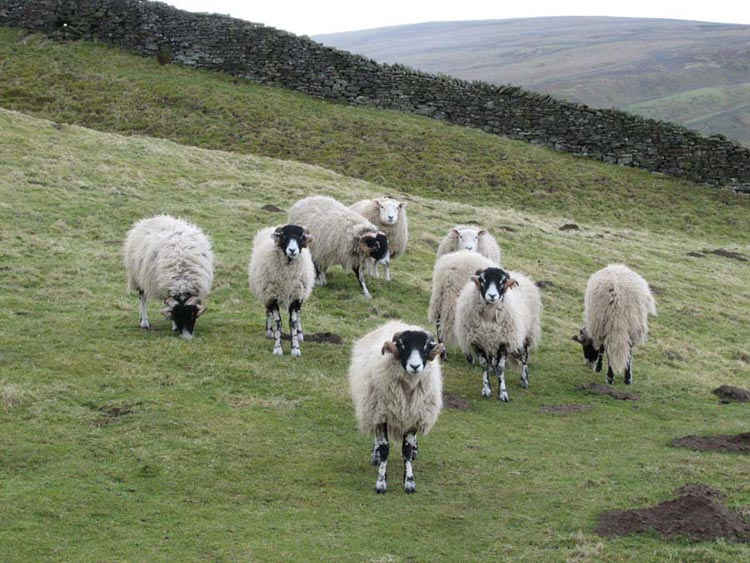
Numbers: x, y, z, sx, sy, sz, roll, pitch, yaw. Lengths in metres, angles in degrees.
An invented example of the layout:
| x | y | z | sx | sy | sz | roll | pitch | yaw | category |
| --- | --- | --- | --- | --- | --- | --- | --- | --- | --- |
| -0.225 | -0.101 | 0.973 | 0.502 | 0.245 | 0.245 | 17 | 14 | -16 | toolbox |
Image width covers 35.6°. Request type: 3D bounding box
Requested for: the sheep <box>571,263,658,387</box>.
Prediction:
| x | y | z | sx | sy | sz | roll | pitch | yaw | category |
| --- | --- | --- | --- | --- | --- | --- | --- | --- | --- |
| 8.948 | 1.177 | 43.334 | 3.070 | 3.831 | 6.650 | 2 | 13 | 8 | sheep |

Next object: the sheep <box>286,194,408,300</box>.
| x | y | z | sx | sy | sz | roll | pitch | yaw | category |
| --- | --- | --- | --- | --- | --- | --- | --- | --- | --- |
| -1.129 | -1.319 | 45.781 | 4.047 | 3.821 | 3.906 | -10 | 22 | -35 | sheep |
